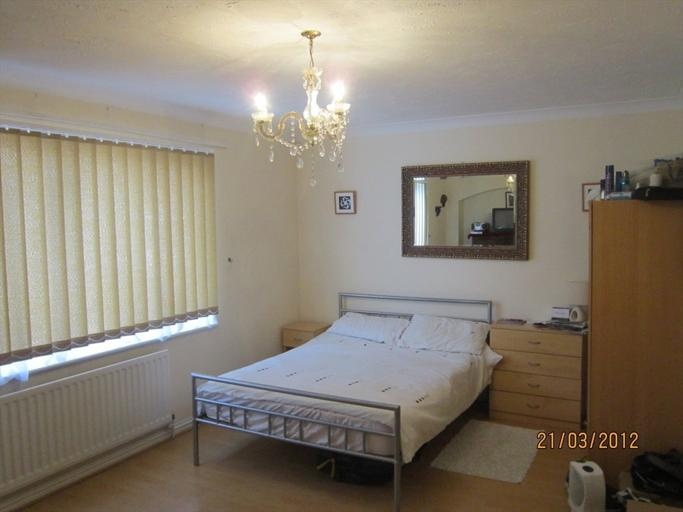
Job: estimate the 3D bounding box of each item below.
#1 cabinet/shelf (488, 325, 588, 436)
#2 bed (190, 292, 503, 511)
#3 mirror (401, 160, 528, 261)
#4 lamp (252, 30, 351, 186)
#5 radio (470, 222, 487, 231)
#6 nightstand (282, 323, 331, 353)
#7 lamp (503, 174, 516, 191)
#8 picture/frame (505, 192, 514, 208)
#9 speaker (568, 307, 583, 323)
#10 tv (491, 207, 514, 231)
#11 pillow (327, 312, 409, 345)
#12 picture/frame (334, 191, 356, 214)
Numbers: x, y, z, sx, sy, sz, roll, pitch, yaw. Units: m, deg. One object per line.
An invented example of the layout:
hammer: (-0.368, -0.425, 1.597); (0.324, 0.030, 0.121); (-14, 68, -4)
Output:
cabinet/shelf: (1.805, 1.232, 5.042); (0.782, 0.868, 0.462); (3, -26, 18)
bed: (0.339, 1.022, 4.649); (1.650, 0.948, 2.011); (2, 5, 32)
mirror: (1.292, -0.467, 5.384); (1.056, 0.802, 0.045); (2, 4, 25)
lamp: (-0.211, -1.072, 3.629); (0.701, 0.850, 0.462); (-1, 21, -7)
radio: (1.379, -0.280, 5.354); (0.141, 0.095, 0.083); (0, 0, 44)
nightstand: (-0.399, 0.867, 6.029); (0.407, 0.375, 0.329); (3, 6, 30)
lamp: (1.644, -0.708, 5.200); (0.102, 0.167, 0.027); (7, 15, 34)
picture/frame: (1.643, -0.543, 5.210); (0.091, 0.148, 0.036); (2, 13, 16)
speaker: (2.145, 0.552, 4.888); (0.116, 0.129, 0.132); (-1, 0, 42)
tv: (1.588, -0.359, 5.247); (0.223, 0.220, 0.122); (3, 4, 34)
pillow: (0.269, 0.754, 5.557); (0.573, 0.100, 0.353); (1, 27, 33)
picture/frame: (0.058, -0.597, 5.979); (0.262, 0.260, 0.029); (1, 2, 32)
